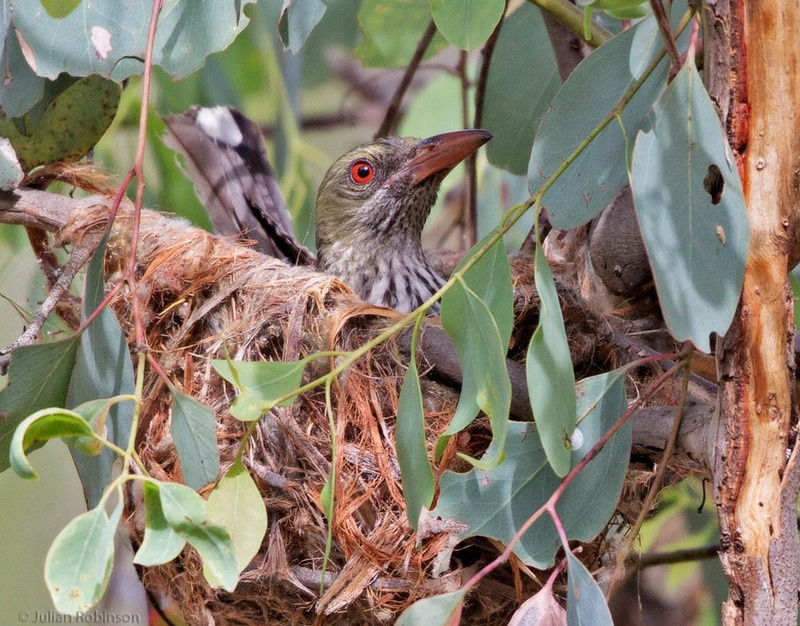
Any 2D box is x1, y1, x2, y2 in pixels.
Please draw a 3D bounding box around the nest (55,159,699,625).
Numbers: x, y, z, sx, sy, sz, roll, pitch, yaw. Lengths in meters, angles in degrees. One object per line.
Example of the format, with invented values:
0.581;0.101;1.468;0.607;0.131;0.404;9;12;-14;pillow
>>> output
0.022;0.246;2.491;1.069;0.894;0.702;2;90;-33;nest
